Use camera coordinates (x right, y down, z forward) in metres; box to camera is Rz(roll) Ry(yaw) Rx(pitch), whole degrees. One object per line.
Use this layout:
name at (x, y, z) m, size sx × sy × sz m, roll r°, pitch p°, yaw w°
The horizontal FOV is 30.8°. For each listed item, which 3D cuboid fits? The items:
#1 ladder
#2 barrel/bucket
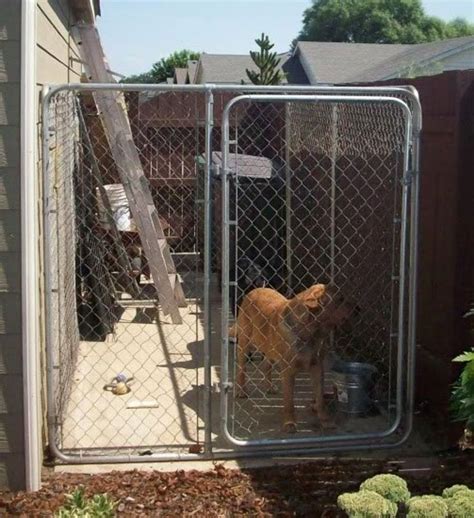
ladder at (-0.943, -0.738, 7.956) m, size 0.687 × 2.885 × 0.859 m, roll -7°, pitch 6°, yaw -8°
barrel/bucket at (0.824, 0.954, 6.226) m, size 0.357 × 0.330 × 0.340 m, roll -1°, pitch 0°, yaw 0°
